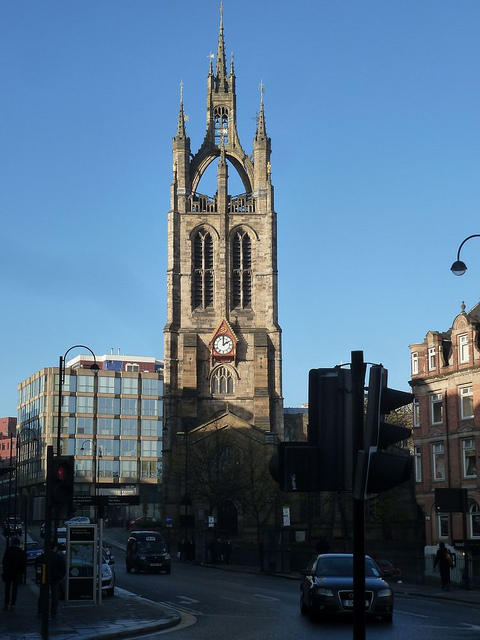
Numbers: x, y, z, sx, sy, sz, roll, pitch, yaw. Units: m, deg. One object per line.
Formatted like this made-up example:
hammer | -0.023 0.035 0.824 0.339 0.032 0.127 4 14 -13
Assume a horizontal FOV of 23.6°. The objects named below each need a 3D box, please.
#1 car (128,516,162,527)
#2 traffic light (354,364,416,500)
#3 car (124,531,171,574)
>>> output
car | -8.002 17.145 96.352 2.371 1.078 6.187 0 -14 -9
traffic light | 1.285 1.073 10.248 0.441 1.222 0.252 6 -14 8
car | -3.671 9.255 45.401 1.326 1.747 2.898 4 -9 -18
